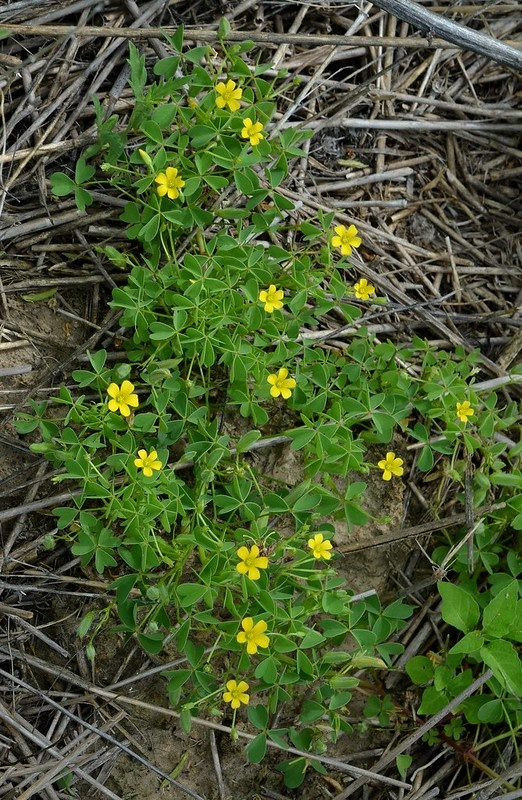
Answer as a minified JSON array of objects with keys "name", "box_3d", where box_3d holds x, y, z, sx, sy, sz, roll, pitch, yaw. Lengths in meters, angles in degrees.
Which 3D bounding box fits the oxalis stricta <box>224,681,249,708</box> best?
[{"name":"oxalis stricta","box_3d":[-0.061,0.693,1.692,0.057,0.089,0.061,-6,65,-4]}]

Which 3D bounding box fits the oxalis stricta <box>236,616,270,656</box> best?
[{"name":"oxalis stricta","box_3d":[-0.019,0.529,1.616,0.098,0.034,0.086,-5,87,-10]}]

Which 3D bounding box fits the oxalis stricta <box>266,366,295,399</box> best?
[{"name":"oxalis stricta","box_3d":[0.042,-0.048,1.827,0.076,0.038,0.075,33,89,-29]}]

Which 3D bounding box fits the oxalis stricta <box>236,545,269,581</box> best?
[{"name":"oxalis stricta","box_3d":[-0.023,0.374,1.646,0.067,0.097,0.072,1,65,-1]}]

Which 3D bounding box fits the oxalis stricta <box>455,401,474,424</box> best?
[{"name":"oxalis stricta","box_3d":[0.553,0.034,1.938,0.060,0.029,0.058,20,81,-26]}]

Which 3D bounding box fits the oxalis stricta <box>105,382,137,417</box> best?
[{"name":"oxalis stricta","box_3d":[-0.340,-0.001,1.709,0.091,0.034,0.082,0,92,-6]}]
